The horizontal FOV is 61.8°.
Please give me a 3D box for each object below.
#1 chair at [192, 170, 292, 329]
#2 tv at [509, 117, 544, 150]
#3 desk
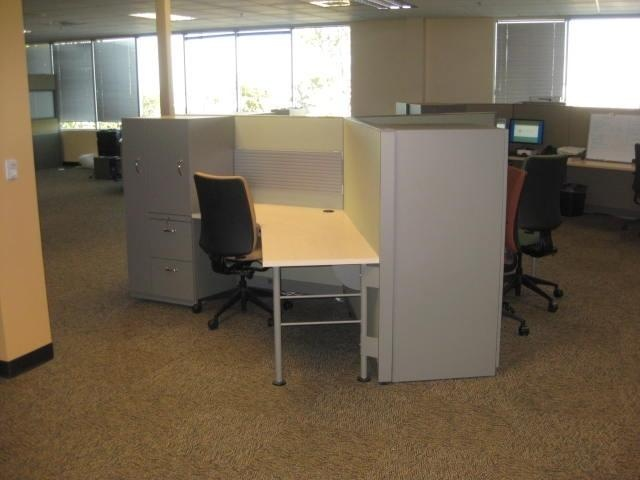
[{"bbox_3d":[-0.695,0.070,4.831,0.811,1.268,0.790,2,8,-9],"label":"chair"},{"bbox_3d":[3.316,-1.696,8.536,0.629,0.519,0.089,7,8,37],"label":"tv"},{"bbox_3d":[-0.118,0.308,4.810,0.845,0.967,2.260,-1,15,-7],"label":"desk"}]
